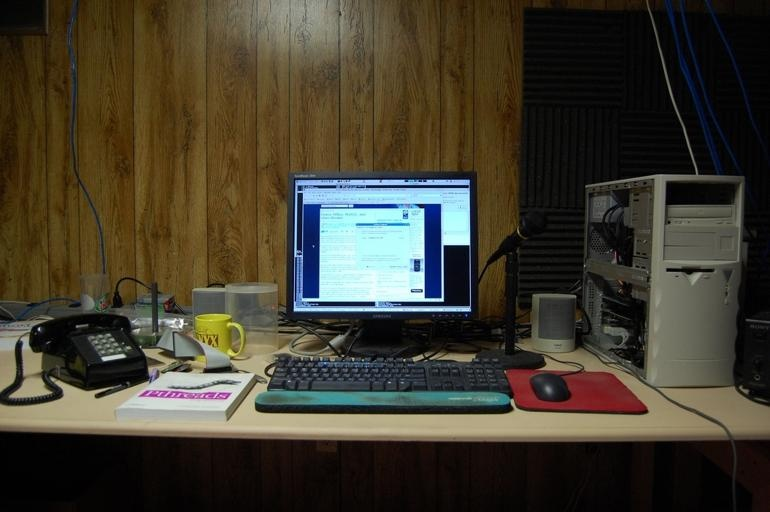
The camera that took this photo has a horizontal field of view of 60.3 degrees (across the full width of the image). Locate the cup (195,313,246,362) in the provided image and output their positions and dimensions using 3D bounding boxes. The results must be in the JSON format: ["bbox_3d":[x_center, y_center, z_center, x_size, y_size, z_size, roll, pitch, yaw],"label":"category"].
[{"bbox_3d":[-0.619,0.307,2.496,0.200,0.160,0.130,5,1,9],"label":"cup"}]

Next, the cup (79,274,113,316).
[{"bbox_3d":[-1.207,0.165,2.776,0.138,0.221,0.135,-1,-11,0],"label":"cup"}]

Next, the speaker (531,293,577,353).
[{"bbox_3d":[0.655,0.260,2.586,0.195,0.226,0.203,1,-2,-1],"label":"speaker"}]

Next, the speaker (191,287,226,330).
[{"bbox_3d":[-0.714,0.196,2.696,0.178,0.178,0.128,0,3,-2],"label":"speaker"}]

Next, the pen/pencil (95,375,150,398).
[{"bbox_3d":[-0.898,0.445,2.256,0.163,0.022,0.021,-20,5,-38],"label":"pen/pencil"}]

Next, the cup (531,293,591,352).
[{"bbox_3d":[0.667,0.256,2.597,0.197,0.225,0.204,0,-2,0],"label":"cup"}]

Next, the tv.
[{"bbox_3d":[-0.009,0.011,2.577,0.681,0.679,0.276,0,-3,1],"label":"tv"}]

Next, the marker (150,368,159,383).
[{"bbox_3d":[-0.799,0.422,2.335,0.018,0.027,0.071,-2,8,-4],"label":"marker"}]
